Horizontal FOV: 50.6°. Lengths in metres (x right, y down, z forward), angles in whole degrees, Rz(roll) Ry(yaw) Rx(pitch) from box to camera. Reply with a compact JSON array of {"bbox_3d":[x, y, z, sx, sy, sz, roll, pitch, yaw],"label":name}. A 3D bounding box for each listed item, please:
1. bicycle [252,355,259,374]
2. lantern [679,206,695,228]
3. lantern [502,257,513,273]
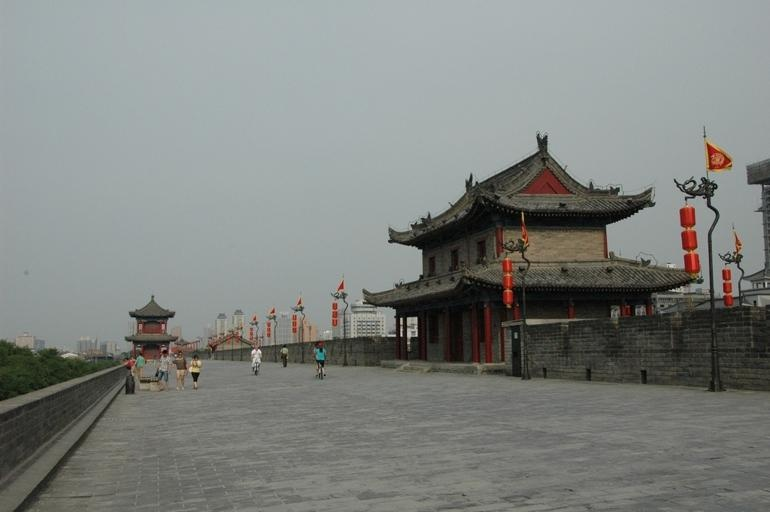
[{"bbox_3d":[-7.154,6.077,44.875,0.313,0.839,1.185,2,-12,-16],"label":"bicycle"},{"bbox_3d":[9.963,-1.264,26.787,0.394,0.589,0.613,-3,-12,11],"label":"lantern"},{"bbox_3d":[5.923,0.407,39.467,0.388,0.810,0.892,-2,-12,5],"label":"lantern"}]
